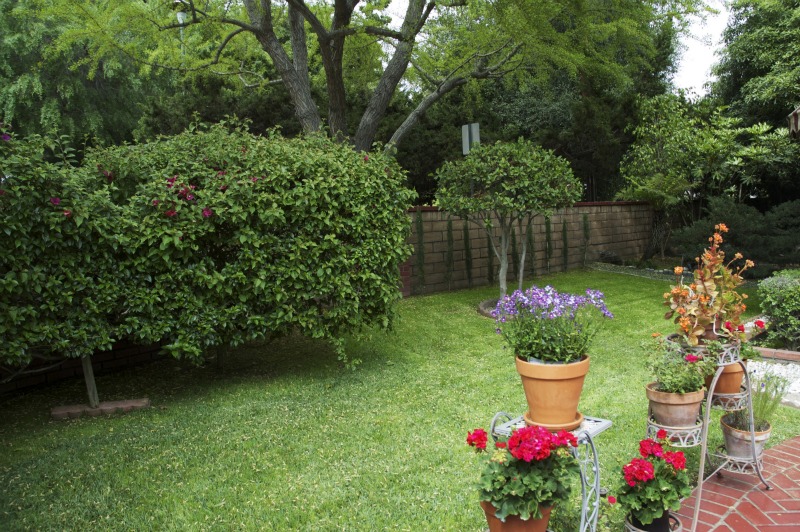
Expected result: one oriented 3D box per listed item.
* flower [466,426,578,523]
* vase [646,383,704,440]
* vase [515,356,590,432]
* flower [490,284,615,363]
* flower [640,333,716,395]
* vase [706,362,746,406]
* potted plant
[{"bbox_3d":[1.272,2.020,6.113,1.041,0.968,0.904,0,-9,-14],"label":"flower"},{"bbox_3d":[3.022,1.558,6.346,0.573,0.426,0.556,1,-4,-36],"label":"vase"},{"bbox_3d":[1.647,1.356,6.340,0.785,0.700,0.804,-2,0,19],"label":"vase"},{"bbox_3d":[1.616,0.636,6.573,1.172,0.708,0.925,-2,-5,-5],"label":"flower"},{"bbox_3d":[3.091,1.073,6.536,0.636,0.444,0.591,-1,-5,-3],"label":"flower"},{"bbox_3d":[3.837,1.350,6.909,0.579,0.434,0.592,-8,-3,20],"label":"vase"},{"bbox_3d":[4.128,1.747,6.879,0.813,0.887,0.461,-3,1,-32],"label":"potted plant"}]
